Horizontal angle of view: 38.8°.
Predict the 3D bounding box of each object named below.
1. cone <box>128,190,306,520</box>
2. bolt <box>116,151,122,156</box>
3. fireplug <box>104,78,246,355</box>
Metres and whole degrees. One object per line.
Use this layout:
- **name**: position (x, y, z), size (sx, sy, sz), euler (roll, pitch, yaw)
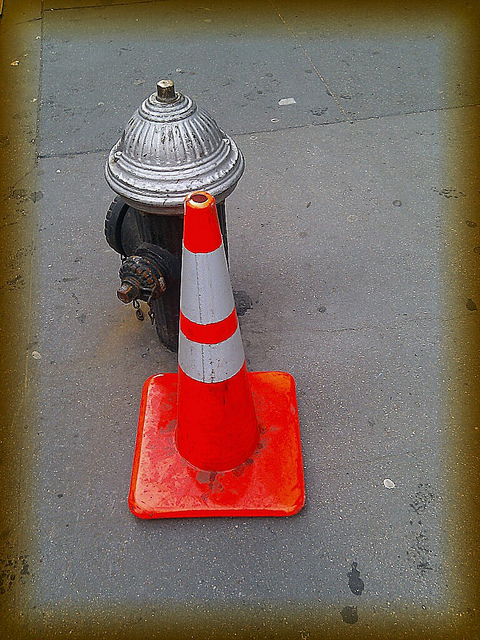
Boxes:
- **cone**: position (-0.125, 0.220, 3.057), size (0.967, 1.339, 0.979), euler (0, 56, 2)
- **bolt**: position (-0.512, -0.699, 2.875), size (0.019, 0.017, 0.022), euler (31, -1, 6)
- **fireplug**: position (-0.327, -0.357, 3.100), size (0.689, 1.402, 0.492), euler (3, 35, 8)
